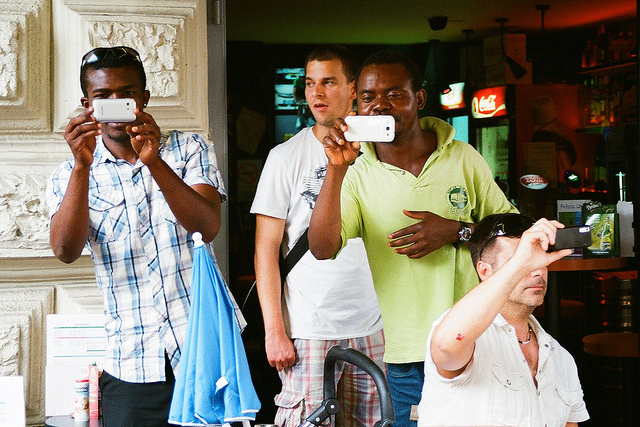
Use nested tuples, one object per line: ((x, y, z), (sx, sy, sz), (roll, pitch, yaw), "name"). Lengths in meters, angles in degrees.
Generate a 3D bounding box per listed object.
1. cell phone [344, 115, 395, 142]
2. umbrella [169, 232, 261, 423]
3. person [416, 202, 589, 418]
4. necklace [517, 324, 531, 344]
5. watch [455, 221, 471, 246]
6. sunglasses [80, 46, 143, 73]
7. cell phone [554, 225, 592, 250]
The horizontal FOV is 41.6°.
((0.257, -0.400, 3.818), (0.167, 0.060, 0.294), (6, 24, -8), "cell phone")
((-0.421, 0.465, 3.408), (0.327, 0.765, 0.188), (1, 2, 27), "umbrella")
((0.866, 0.426, 3.847), (0.671, 0.918, 1.282), (0, 2, 18), "person")
((0.869, 0.520, 3.603), (0.072, 0.067, 0.013), (-27, 13, -18), "necklace")
((0.716, 0.092, 4.188), (0.092, 0.089, 0.086), (2, -3, -37), "watch")
((-0.941, -0.701, 3.798), (0.249, 0.114, 0.134), (-1, 2, -15), "sunglasses")
((0.959, 0.094, 3.212), (0.131, 0.090, 0.123), (0, 2, 15), "cell phone")
